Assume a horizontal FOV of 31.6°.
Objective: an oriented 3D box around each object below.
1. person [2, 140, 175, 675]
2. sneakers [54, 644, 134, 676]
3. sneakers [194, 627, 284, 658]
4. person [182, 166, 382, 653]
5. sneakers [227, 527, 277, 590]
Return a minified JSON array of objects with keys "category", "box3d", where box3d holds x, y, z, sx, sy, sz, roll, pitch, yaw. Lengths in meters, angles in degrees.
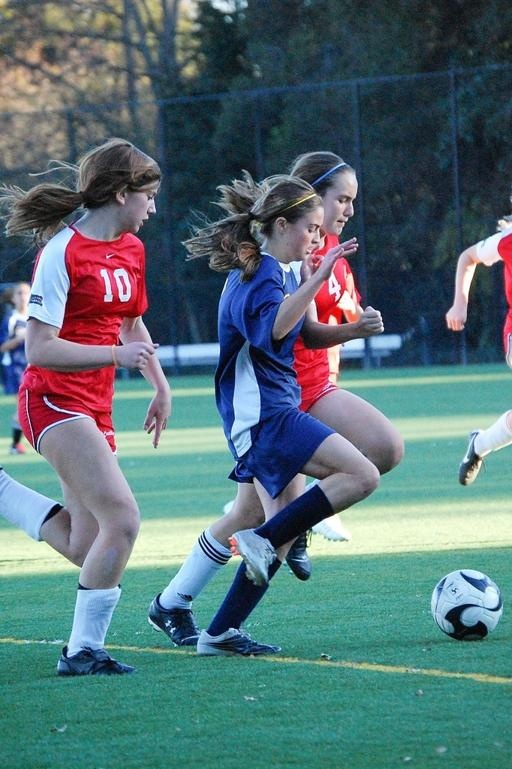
[{"category":"person","box3d":[-0.542,0.055,2.837,0.528,1.660,0.741,-2,6,-4]},{"category":"sneakers","box3d":[-0.463,0.802,2.633,0.244,0.077,0.079,0,-7,-1]},{"category":"sneakers","box3d":[-0.039,0.799,2.814,0.297,0.093,0.088,1,-7,1]},{"category":"person","box3d":[0.093,0.071,2.832,0.585,1.521,0.780,-2,6,-4]},{"category":"sneakers","box3d":[-0.022,0.478,2.587,0.115,0.071,0.200,-23,47,-23]}]
